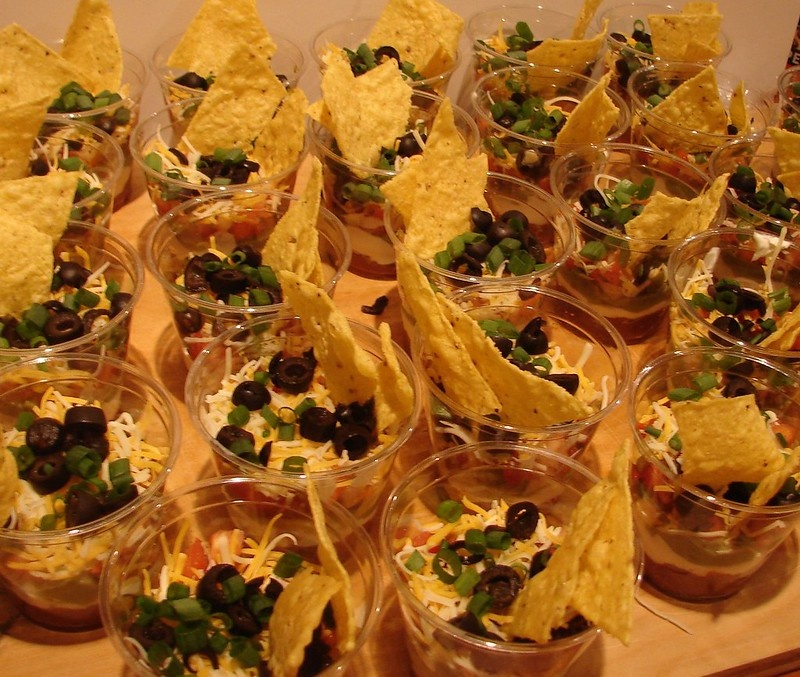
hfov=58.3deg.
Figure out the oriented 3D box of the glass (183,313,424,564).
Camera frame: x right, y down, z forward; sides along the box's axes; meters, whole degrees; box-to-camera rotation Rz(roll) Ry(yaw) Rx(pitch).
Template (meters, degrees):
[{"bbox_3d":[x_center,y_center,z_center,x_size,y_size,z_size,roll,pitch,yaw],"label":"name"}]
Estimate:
[{"bbox_3d":[-0.248,0.210,1.756,0.651,0.457,0.367,16,-35,-11],"label":"glass"}]
